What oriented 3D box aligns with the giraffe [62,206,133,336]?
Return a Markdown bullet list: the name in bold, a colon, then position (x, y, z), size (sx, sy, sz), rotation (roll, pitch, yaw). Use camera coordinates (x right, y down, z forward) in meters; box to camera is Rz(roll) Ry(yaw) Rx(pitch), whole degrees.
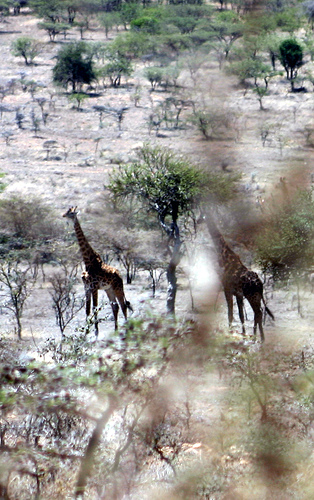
- **giraffe**: position (-1.910, 0.719, 18.596), size (1.603, 4.771, 3.241), rotation (-6, 21, -3)
